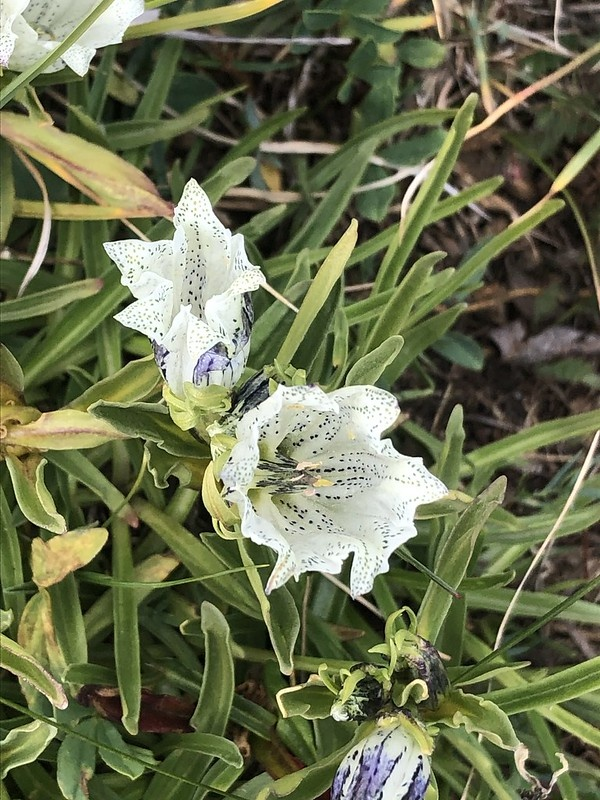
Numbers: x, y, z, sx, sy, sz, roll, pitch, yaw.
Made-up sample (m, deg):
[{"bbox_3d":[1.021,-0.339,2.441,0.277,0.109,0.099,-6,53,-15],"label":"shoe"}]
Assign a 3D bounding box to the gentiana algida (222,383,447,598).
[{"bbox_3d":[0.014,0.061,0.708,0.166,0.160,0.061,-2,-57,-27],"label":"gentiana algida"}]
